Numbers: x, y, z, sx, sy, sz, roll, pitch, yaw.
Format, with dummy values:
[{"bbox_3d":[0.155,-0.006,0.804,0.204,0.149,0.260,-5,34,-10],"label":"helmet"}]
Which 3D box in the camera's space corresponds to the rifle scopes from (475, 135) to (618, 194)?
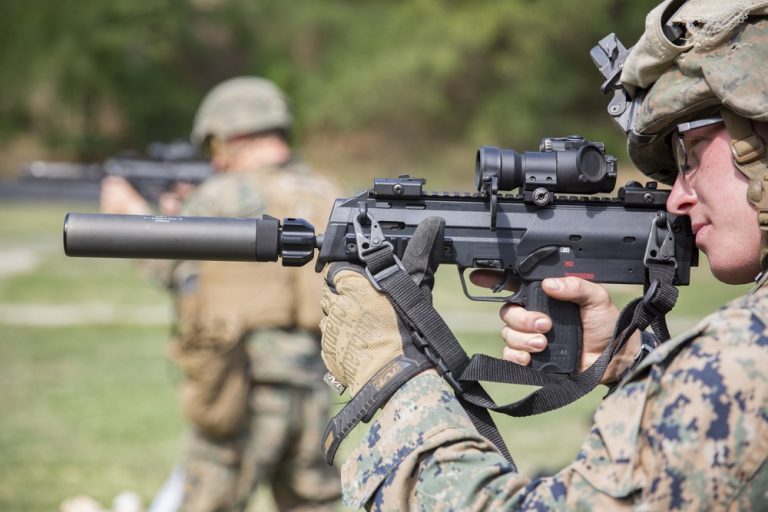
[{"bbox_3d":[0.972,-0.521,7.220,0.917,0.469,0.515,0,8,4],"label":"rifle scopes"}]
